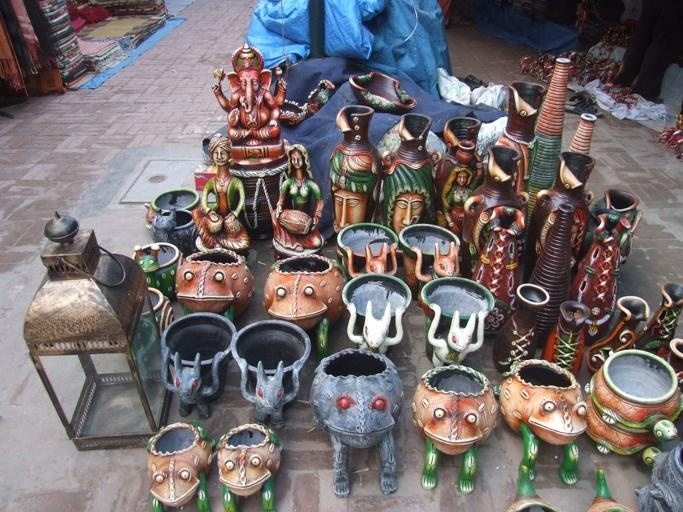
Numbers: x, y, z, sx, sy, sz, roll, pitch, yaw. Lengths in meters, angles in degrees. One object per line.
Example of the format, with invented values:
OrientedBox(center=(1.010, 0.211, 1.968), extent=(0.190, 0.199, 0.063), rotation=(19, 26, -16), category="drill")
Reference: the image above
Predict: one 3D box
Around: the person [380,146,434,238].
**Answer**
OrientedBox(center=(0.674, -0.586, 5.027), extent=(0.485, 0.807, 0.460), rotation=(5, 26, 4), category="person")

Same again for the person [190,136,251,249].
OrientedBox(center=(-1.182, -0.573, 4.744), extent=(0.501, 0.999, 0.501), rotation=(-7, 33, -11), category="person")

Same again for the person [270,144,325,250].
OrientedBox(center=(-0.406, -0.551, 4.759), extent=(0.485, 0.915, 0.613), rotation=(6, 33, 10), category="person")
